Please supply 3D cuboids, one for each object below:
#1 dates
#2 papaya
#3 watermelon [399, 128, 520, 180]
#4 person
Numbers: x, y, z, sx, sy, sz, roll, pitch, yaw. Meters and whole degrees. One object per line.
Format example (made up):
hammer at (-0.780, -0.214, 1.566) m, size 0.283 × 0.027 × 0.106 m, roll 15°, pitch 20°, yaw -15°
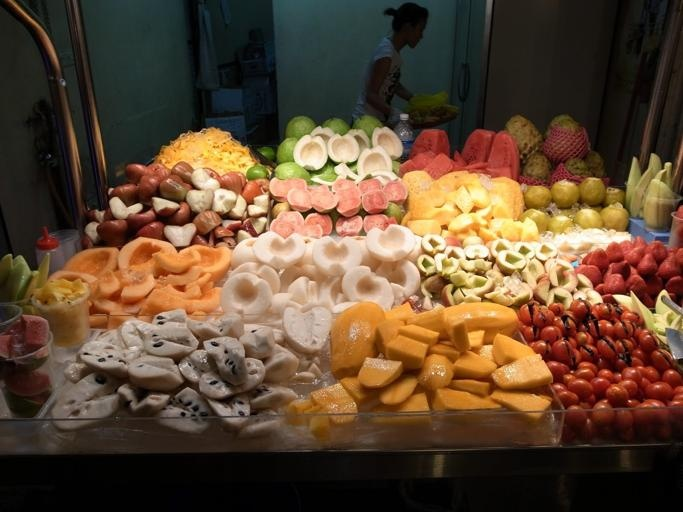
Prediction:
dates at (-0.725, -0.250, 2.483) m, size 0.757 × 0.356 × 0.365 m, roll -3°, pitch 18°, yaw -8°
papaya at (-0.812, 0.083, 2.114) m, size 0.681 × 0.208 × 0.580 m, roll 0°, pitch 18°, yaw 1°
watermelon at (0.710, -0.614, 3.039) m, size 0.692 × 0.338 × 0.407 m, roll -2°, pitch 24°, yaw 12°
person at (0.373, -1.602, 4.324) m, size 0.533 × 0.948 × 0.737 m, roll 6°, pitch 18°, yaw 21°
